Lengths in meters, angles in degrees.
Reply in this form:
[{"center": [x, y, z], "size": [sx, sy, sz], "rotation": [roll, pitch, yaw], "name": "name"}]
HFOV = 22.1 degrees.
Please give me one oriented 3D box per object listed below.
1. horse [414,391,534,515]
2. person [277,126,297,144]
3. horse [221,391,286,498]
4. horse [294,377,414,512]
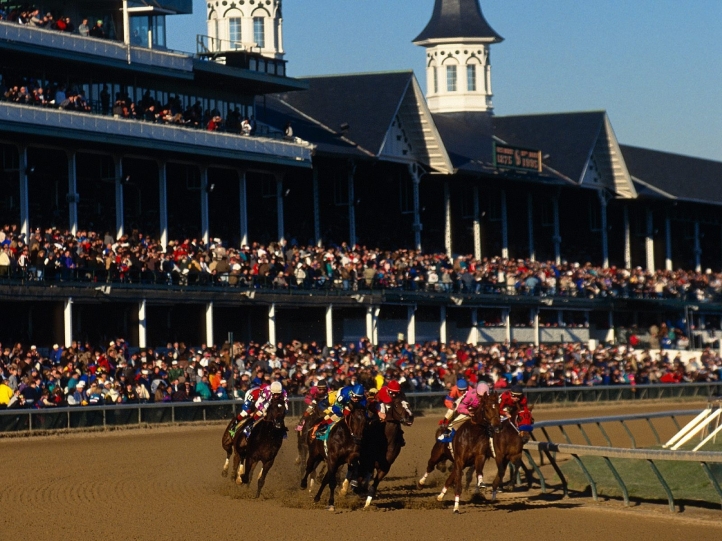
[{"center": [2.769, 4.291, 44.153], "size": [2.077, 2.774, 1.940], "rotation": [0, -1, 5], "name": "horse"}, {"center": [-2.644, -4.690, 65.542], "size": [0.504, 0.656, 0.883], "rotation": [-1, -2, 43], "name": "person"}, {"center": [-2.527, 4.081, 44.838], "size": [0.951, 2.762, 2.276], "rotation": [1, -1, -23], "name": "horse"}, {"center": [-0.119, 4.127, 44.168], "size": [2.550, 2.922, 1.973], "rotation": [0, -1, 6], "name": "horse"}]
